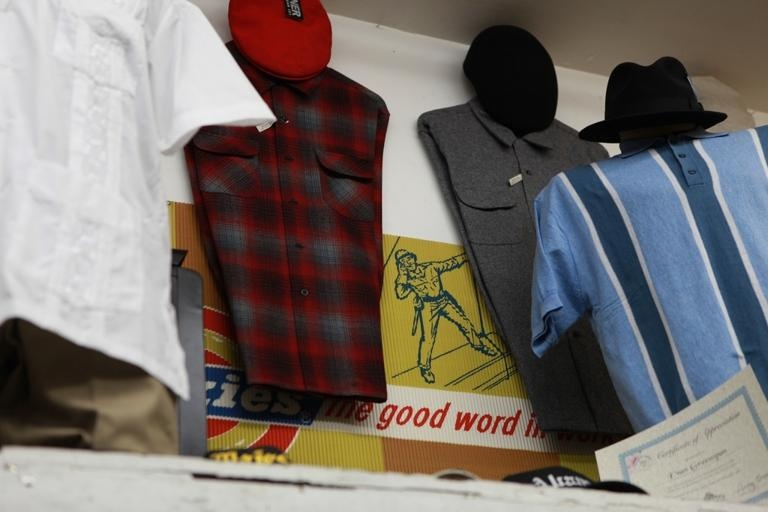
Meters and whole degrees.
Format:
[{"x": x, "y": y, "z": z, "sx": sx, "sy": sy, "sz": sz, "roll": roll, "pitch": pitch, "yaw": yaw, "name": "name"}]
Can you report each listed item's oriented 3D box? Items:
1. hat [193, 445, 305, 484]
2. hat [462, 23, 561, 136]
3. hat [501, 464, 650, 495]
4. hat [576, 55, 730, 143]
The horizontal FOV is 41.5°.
[{"x": -0.258, "y": 0.375, "z": 1.895, "sx": 0.163, "sy": 0.048, "sz": 0.265, "roll": 0, "pitch": 2, "yaw": -4, "name": "hat"}, {"x": 0.447, "y": -0.614, "z": 3.538, "sx": 0.325, "sy": 0.399, "sz": 0.185, "roll": 0, "pitch": 1, "yaw": 5, "name": "hat"}, {"x": 0.373, "y": 0.437, "z": 1.961, "sx": 0.162, "sy": 0.049, "sz": 0.108, "roll": 6, "pitch": -6, "yaw": 42, "name": "hat"}, {"x": 0.797, "y": -0.469, "z": 2.985, "sx": 0.419, "sy": 0.213, "sz": 0.427, "roll": -12, "pitch": -11, "yaw": 39, "name": "hat"}]
